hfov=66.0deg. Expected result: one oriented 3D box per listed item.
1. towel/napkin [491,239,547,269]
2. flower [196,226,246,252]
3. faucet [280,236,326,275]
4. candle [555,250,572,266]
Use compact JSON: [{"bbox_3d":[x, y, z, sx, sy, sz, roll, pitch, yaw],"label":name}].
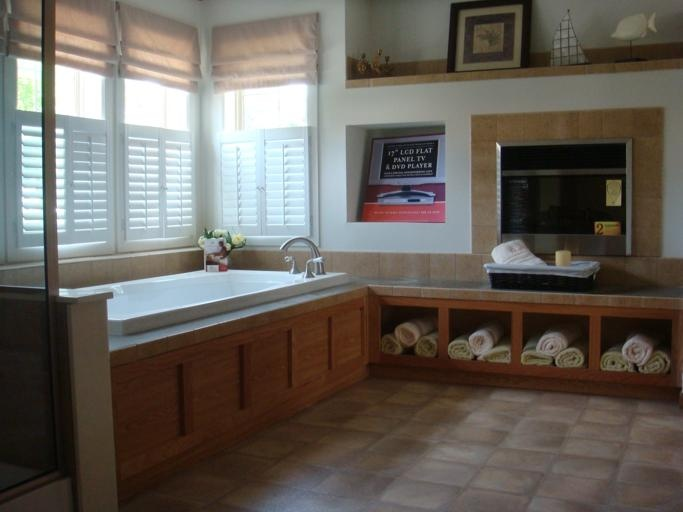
[{"bbox_3d":[1.213,-0.027,3.630,0.325,0.151,0.445,1,5,15],"label":"towel/napkin"},{"bbox_3d":[-0.979,-0.149,4.410,0.247,0.172,0.254,0,0,15],"label":"flower"},{"bbox_3d":[-0.319,0.023,3.858,0.284,0.239,0.228,13,14,2],"label":"faucet"},{"bbox_3d":[1.474,0.014,3.518,0.105,0.104,0.108,2,7,10],"label":"candle"}]
